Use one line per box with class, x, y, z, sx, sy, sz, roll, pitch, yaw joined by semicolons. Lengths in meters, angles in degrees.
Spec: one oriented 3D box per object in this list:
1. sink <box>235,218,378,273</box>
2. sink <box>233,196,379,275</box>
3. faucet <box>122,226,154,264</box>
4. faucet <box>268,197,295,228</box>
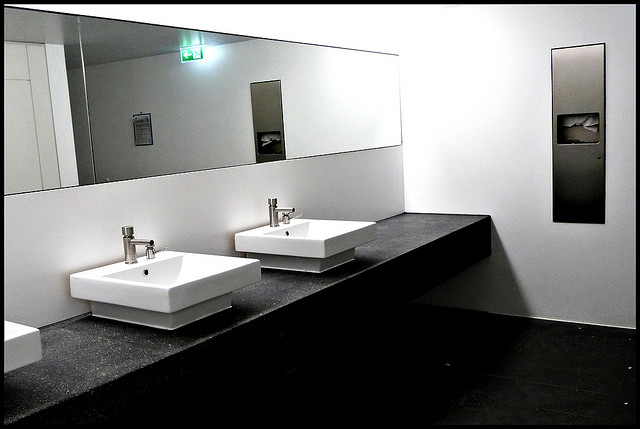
sink;-0.113;0.177;2.627;0.430;0.171;0.487;1;7;30
sink;-0.107;0.100;2.755;0.661;0.392;0.630;5;14;40
faucet;-0.874;0.149;2.184;0.176;0.175;0.057;2;10;28
faucet;-0.240;-0.013;2.841;0.177;0.183;0.053;2;9;28
